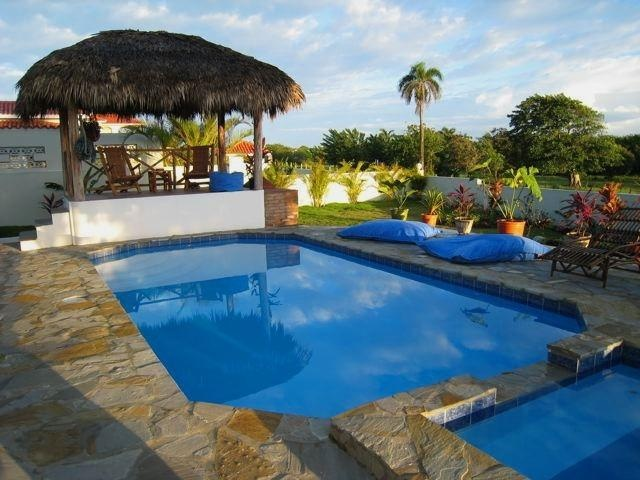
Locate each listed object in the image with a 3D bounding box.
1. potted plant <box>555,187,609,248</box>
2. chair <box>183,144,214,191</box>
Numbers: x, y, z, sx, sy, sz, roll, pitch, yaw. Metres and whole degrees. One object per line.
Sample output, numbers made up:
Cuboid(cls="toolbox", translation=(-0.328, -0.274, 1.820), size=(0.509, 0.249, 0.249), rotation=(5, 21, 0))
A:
Cuboid(cls="potted plant", translation=(6.193, -0.481, 8.825), size=(0.932, 1.173, 1.011), rotation=(4, -6, 45))
Cuboid(cls="chair", translation=(-4.021, -2.393, 12.235), size=(0.890, 1.456, 1.100), rotation=(0, 10, -18))
